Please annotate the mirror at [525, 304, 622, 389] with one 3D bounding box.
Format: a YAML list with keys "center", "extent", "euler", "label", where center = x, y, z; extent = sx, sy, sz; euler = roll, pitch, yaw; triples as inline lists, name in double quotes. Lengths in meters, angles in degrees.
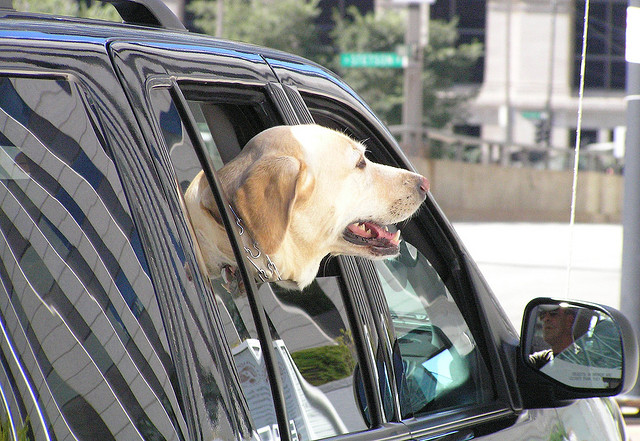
- center: [4.616, 2.289, 32.263]
  extent: [1.222, 1.253, 0.270]
  euler: [2, -4, 6]
  label: "mirror"

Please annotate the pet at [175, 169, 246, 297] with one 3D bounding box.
- center: [-1.903, 0.341, 32.279]
  extent: [0.689, 2.033, 1.370]
  euler: [-18, -3, -24]
  label: "pet"
